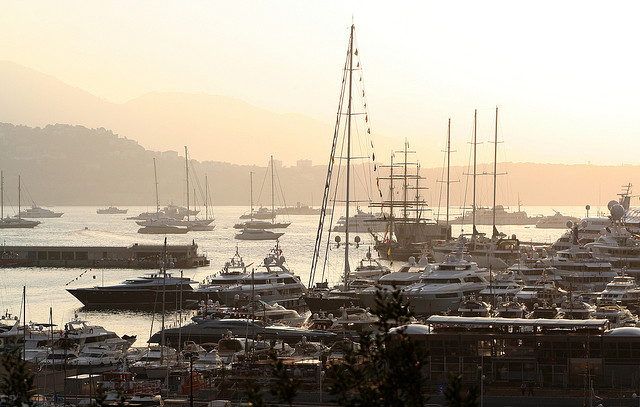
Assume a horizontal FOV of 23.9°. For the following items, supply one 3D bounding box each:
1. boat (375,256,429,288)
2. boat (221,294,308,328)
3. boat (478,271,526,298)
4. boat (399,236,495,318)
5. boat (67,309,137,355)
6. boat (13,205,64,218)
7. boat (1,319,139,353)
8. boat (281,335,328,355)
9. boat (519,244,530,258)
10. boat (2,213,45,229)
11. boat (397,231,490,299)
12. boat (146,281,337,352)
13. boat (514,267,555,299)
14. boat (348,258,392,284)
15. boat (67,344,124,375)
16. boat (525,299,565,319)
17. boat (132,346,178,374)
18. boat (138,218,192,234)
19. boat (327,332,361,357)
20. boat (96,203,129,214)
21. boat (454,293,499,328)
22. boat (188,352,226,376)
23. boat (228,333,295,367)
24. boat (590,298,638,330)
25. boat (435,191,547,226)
[{"bbox_3d":[14.913,12.106,265.308,4.074,4.015,10.248,1,0,25],"label":"boat"},{"bbox_3d":[-8.877,19.004,255.148,14.574,4.863,5.277,4,0,7],"label":"boat"},{"bbox_3d":[32.660,14.239,266.763,7.497,4.833,14.374,-4,1,13],"label":"boat"},{"bbox_3d":[21.718,14.697,260.582,13.058,9.038,2.636,0,-3,-14],"label":"boat"},{"bbox_3d":[-36.431,21.757,251.542,15.959,5.480,3.970,3,-3,-43],"label":"boat"},{"bbox_3d":[-102.511,3.517,551.487,19.347,4.002,4.098,-2,3,-18],"label":"boat"},{"bbox_3d":[-41.651,21.621,249.196,19.291,5.275,8.495,0,-3,-6],"label":"boat"},{"bbox_3d":[-1.957,22.834,245.391,4.884,2.732,6.755,-3,-4,36],"label":"boat"},{"bbox_3d":[40.034,9.486,297.156,2.055,2.500,0.531,0,-40,5],"label":"boat"},{"bbox_3d":[-82.254,6.082,421.943,12.761,3.605,3.137,-2,6,-3],"label":"boat"},{"bbox_3d":[23.145,11.854,266.323,9.861,11.423,26.975,6,11,32],"label":"boat"},{"bbox_3d":[-11.418,20.634,253.370,32.809,9.002,7.977,2,5,-6],"label":"boat"},{"bbox_3d":[37.994,14.511,264.994,3.387,4.119,11.649,12,23,38],"label":"boat"},{"bbox_3d":[8.062,11.905,277.977,10.490,4.474,3.052,-3,0,18],"label":"boat"},{"bbox_3d":[-36.706,24.821,248.188,5.396,3.161,10.624,0,9,18],"label":"boat"},{"bbox_3d":[37.275,17.567,251.859,6.238,2.766,6.377,-1,-3,-2],"label":"boat"},{"bbox_3d":[-25.998,24.793,244.604,7.991,2.440,3.357,-3,5,-29],"label":"boat"},{"bbox_3d":[-41.486,6.660,402.140,7.911,3.793,13.076,-2,-3,23],"label":"boat"},{"bbox_3d":[3.561,22.651,242.615,4.760,3.502,15.668,-1,-3,0],"label":"boat"},{"bbox_3d":[-83.501,3.517,609.956,8.654,3.277,20.864,-1,-3,4],"label":"boat"},{"bbox_3d":[25.979,16.914,253.007,6.068,3.715,17.638,-1,-3,4],"label":"boat"},{"bbox_3d":[-17.912,25.431,243.064,4.504,3.350,2.516,0,-3,-7],"label":"boat"},{"bbox_3d":[-8.837,23.479,247.511,9.123,3.603,4.859,0,3,6],"label":"boat"},{"bbox_3d":[49.212,18.261,254.809,7.697,4.572,13.230,-1,-3,11],"label":"boat"},{"bbox_3d":[57.473,3.333,508.309,37.636,11.459,5.983,0,-6,-7],"label":"boat"}]
